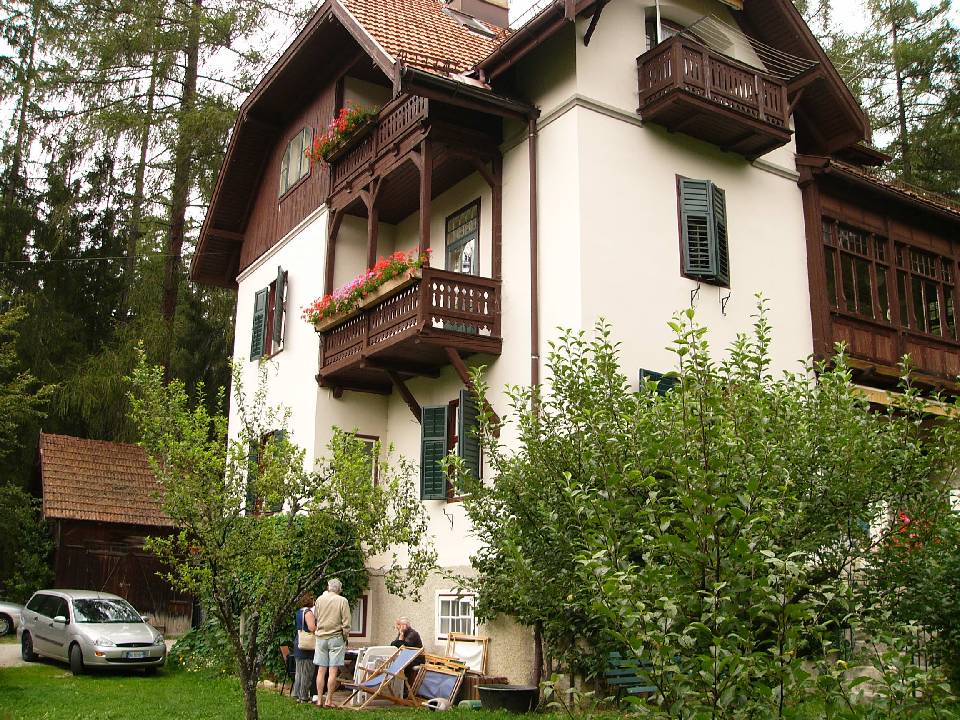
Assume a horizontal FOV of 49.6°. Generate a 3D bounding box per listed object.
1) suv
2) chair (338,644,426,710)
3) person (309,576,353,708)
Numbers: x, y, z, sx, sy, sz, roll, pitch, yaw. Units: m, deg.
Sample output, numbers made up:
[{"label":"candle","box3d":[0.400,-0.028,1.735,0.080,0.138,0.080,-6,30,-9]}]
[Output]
[{"label":"suv","box3d":[-8.447,5.971,22.765,3.779,1.633,1.443,-6,-16,39]},{"label":"chair","box3d":[-1.808,5.884,19.207,1.339,1.072,0.985,10,-13,-43]},{"label":"person","box3d":[-2.720,5.143,18.906,0.667,2.240,0.667,5,-12,-8]}]
